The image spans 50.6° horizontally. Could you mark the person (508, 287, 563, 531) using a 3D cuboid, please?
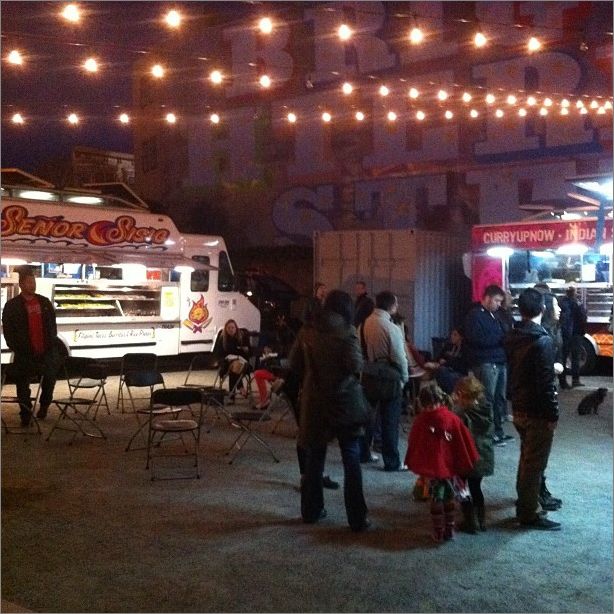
[{"bbox_3d":[1.760,0.782,5.029,0.432,1.849,0.518,1,2,23],"label":"person"}]

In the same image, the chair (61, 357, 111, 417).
[{"bbox_3d":[-3.317,1.220,9.720,0.549,1.226,0.773,1,9,2],"label":"chair"}]

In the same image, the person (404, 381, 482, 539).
[{"bbox_3d":[0.992,1.112,4.700,0.524,1.122,0.394,1,2,3],"label":"person"}]

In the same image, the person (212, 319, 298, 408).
[{"bbox_3d":[-1.118,0.814,10.579,0.912,1.622,1.257,1,-7,-2],"label":"person"}]

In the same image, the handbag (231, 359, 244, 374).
[{"bbox_3d":[-1.082,0.914,10.103,0.173,0.305,0.265,-1,0,25],"label":"handbag"}]

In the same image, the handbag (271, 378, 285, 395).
[{"bbox_3d":[-0.357,0.959,7.882,0.198,0.236,0.372,7,-9,-6],"label":"handbag"}]

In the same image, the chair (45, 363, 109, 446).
[{"bbox_3d":[-3.172,1.352,8.935,0.570,1.237,0.790,0,-5,7],"label":"chair"}]

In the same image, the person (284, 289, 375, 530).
[{"bbox_3d":[0.203,0.778,4.999,0.584,1.806,0.376,1,2,13],"label":"person"}]
